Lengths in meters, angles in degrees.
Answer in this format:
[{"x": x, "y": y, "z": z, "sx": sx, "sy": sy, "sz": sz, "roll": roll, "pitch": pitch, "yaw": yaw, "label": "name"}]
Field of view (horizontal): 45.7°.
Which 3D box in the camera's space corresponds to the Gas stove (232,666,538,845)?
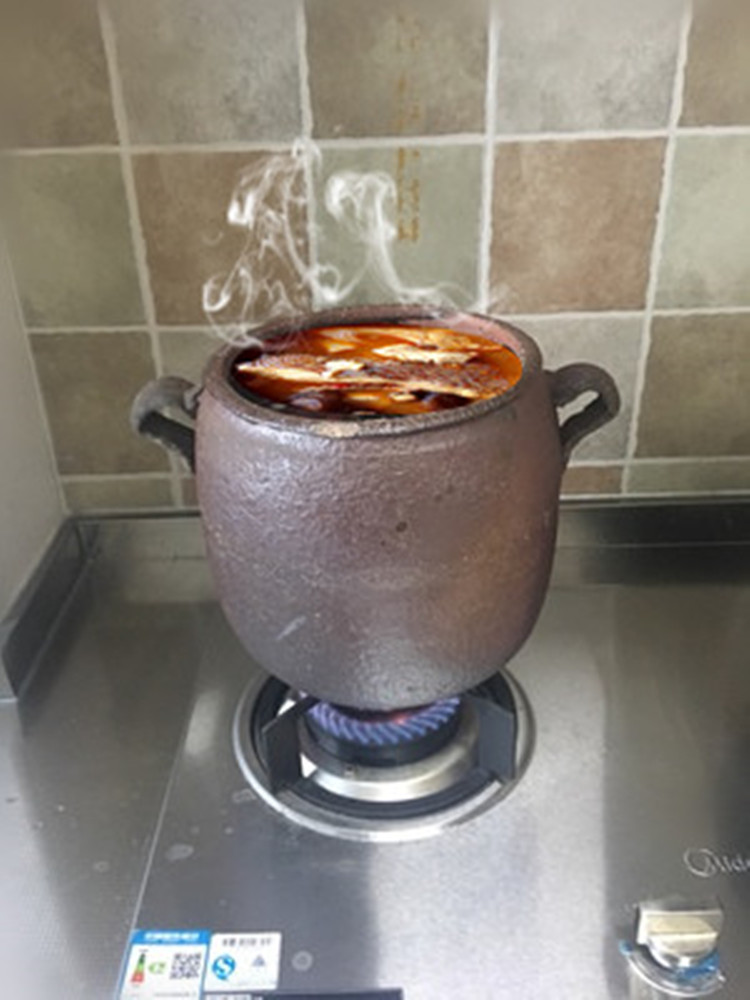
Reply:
[{"x": 0.008, "y": 0.183, "z": 0.804, "sx": 0.275, "sy": 0.066, "sz": 0.265, "roll": -3, "pitch": 19, "yaw": -11, "label": "Gas stove"}]
